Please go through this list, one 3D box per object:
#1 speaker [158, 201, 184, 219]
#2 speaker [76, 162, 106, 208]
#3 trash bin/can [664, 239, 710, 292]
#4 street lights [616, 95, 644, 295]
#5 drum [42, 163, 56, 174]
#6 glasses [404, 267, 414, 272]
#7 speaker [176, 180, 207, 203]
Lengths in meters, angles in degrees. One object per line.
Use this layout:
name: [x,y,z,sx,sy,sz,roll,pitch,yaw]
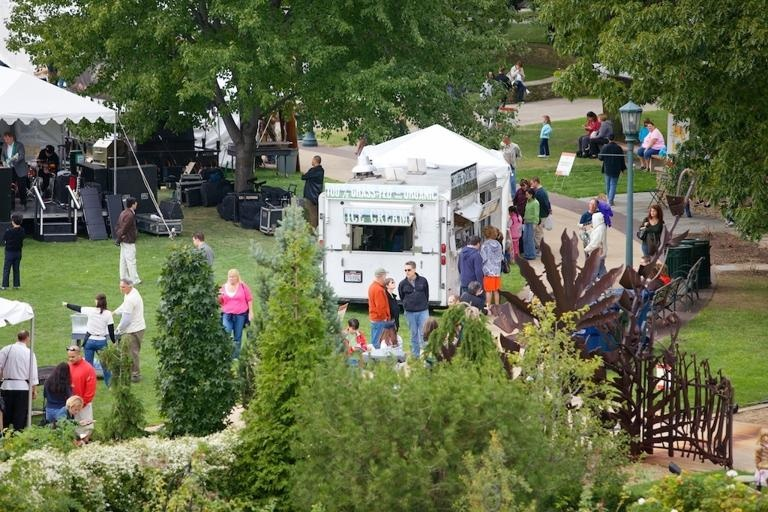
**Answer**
speaker: [-6.089,-1.393,46.379,0.438,0.498,0.746,-2,17,-25]
speaker: [-8.392,-2.034,46.600,0.381,1.123,1.208,-2,6,-22]
trash bin/can: [7.371,0.182,39.755,0.611,1.294,0.839,1,-2,-7]
street lights: [5.890,-1.686,38.779,0.636,4.219,0.627,1,14,12]
drum: [-9.781,-2.595,47.264,0.242,0.336,0.680,-1,2,10]
glasses: [0.551,0.262,37.076,0.151,0.111,0.252,-3,2,-34]
speaker: [-6.117,-1.993,51.108,0.845,0.767,0.492,-2,2,-12]
